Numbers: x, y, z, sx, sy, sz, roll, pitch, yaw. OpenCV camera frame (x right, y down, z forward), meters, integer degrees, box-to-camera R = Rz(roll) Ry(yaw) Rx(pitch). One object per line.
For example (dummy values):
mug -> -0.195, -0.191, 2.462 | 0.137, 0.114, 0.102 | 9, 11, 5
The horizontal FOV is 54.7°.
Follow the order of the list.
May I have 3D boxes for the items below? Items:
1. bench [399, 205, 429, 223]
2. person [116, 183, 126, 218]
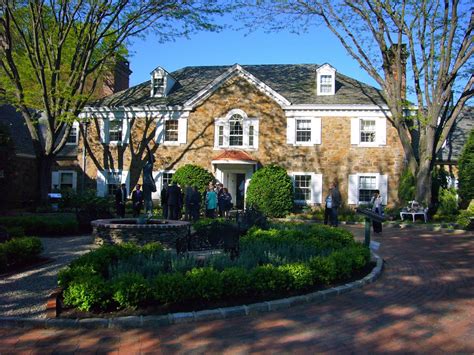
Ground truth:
bench -> 9.766, 1.990, 25.259 | 1.464, 1.015, 1.259 | 8, 15, 28
person -> -5.542, 1.097, 21.731 | 0.463, 1.669, 1.438 | -3, 13, -15
